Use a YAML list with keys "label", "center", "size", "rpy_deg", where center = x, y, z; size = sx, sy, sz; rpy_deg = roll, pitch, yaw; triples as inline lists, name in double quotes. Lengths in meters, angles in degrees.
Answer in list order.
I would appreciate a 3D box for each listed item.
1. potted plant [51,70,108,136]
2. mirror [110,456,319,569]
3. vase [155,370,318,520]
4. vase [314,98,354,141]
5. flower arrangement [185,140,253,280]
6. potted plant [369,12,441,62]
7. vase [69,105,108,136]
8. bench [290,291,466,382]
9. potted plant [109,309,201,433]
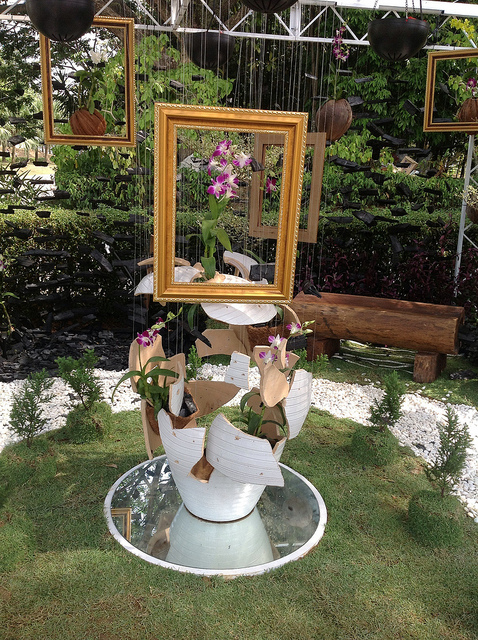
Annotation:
- label: "potted plant"
  center: [-0.944, -1.356, 2.632]
  size: [0.167, 0.224, 0.396]
  rpy_deg: [31, 56, 4]
- label: "mirror"
  center: [-0.117, 0.856, 1.988]
  size: [0.968, 0.064, 0.715]
  rpy_deg: [6, 8, 4]
- label: "vase"
  center: [-0.008, 0.438, 1.672]
  size: [0.422, 0.382, 0.376]
  rpy_deg: [6, 14, -6]
- label: "vase"
  center: [0.699, -1.522, 3.357]
  size: [0.255, 0.302, 0.307]
  rpy_deg: [2, 2, 0]
- label: "flower arrangement"
  center: [-0.062, -0.414, 1.584]
  size: [0.208, 0.529, 0.336]
  rpy_deg: [4, 8, -9]
- label: "potted plant"
  center: [0.698, -1.239, 1.975]
  size: [0.258, 0.161, 0.255]
  rpy_deg: [8, 7, 29]
- label: "vase"
  center: [-0.810, -1.058, 2.405]
  size: [0.170, 0.175, 0.168]
  rpy_deg: [-19, 24, -18]
- label: "bench"
  center: [1.316, 0.148, 4.293]
  size: [1.474, 0.685, 0.702]
  rpy_deg: [9, 9, 25]
- label: "potted plant"
  center: [-0.352, 0.226, 1.811]
  size: [0.354, 0.527, 0.344]
  rpy_deg: [1, 15, 16]
